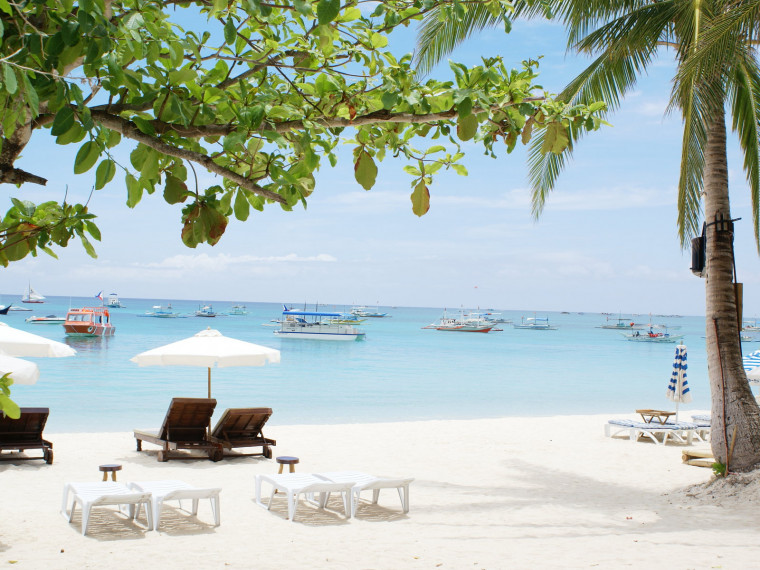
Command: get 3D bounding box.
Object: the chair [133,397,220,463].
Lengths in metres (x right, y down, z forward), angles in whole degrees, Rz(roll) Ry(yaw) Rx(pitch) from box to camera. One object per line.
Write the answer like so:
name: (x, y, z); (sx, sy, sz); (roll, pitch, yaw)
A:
chair: (-3.294, 2.228, 15.109); (0.794, 0.765, 1.626); (4, -3, -29)

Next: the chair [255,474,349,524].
chair: (-0.999, 2.632, 11.706); (1.074, 0.513, 1.715); (4, -9, -18)

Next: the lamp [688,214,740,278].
lamp: (4.231, -0.439, 11.932); (0.569, 0.910, 0.465); (-5, 3, 13)

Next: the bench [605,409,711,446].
bench: (5.249, 2.683, 17.761); (1.890, 0.673, 2.272); (-1, -9, 18)

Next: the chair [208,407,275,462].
chair: (-2.426, 2.436, 15.324); (0.991, 0.826, 1.513); (4, -6, -31)

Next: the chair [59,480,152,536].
chair: (-3.190, 2.581, 10.864); (0.953, 0.529, 1.530); (5, -9, -20)
